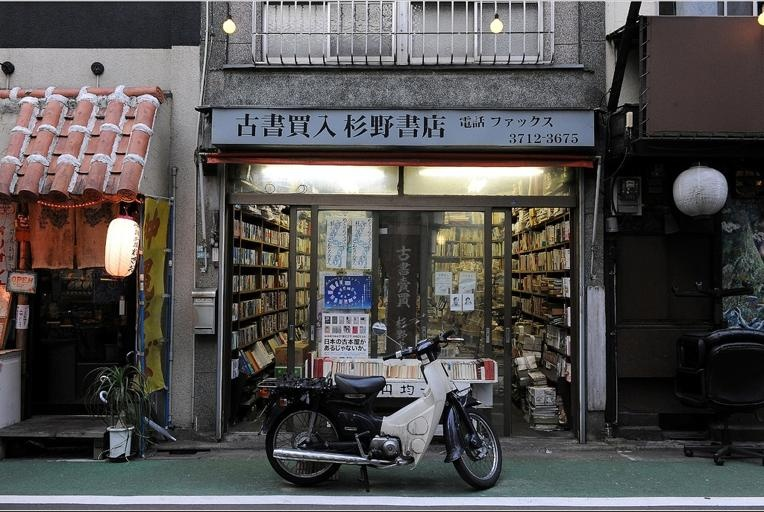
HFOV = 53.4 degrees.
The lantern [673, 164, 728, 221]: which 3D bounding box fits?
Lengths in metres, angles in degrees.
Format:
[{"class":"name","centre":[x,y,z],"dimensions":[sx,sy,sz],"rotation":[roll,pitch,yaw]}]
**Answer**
[{"class":"lantern","centre":[4.449,-0.907,10.634],"dimensions":[0.693,0.726,0.285],"rotation":[-2,-7,19]}]

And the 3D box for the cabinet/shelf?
[{"class":"cabinet/shelf","centre":[0.193,0.841,10.992],"dimensions":[4.822,2.947,1.784],"rotation":[0,-4,2]}]

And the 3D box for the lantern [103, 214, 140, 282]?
[{"class":"lantern","centre":[-3.549,-0.087,10.288],"dimensions":[0.402,0.837,0.422],"rotation":[7,5,15]}]

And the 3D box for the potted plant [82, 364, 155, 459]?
[{"class":"potted plant","centre":[-3.734,2.183,10.698],"dimensions":[0.839,1.254,1.296],"rotation":[3,-7,-22]}]
